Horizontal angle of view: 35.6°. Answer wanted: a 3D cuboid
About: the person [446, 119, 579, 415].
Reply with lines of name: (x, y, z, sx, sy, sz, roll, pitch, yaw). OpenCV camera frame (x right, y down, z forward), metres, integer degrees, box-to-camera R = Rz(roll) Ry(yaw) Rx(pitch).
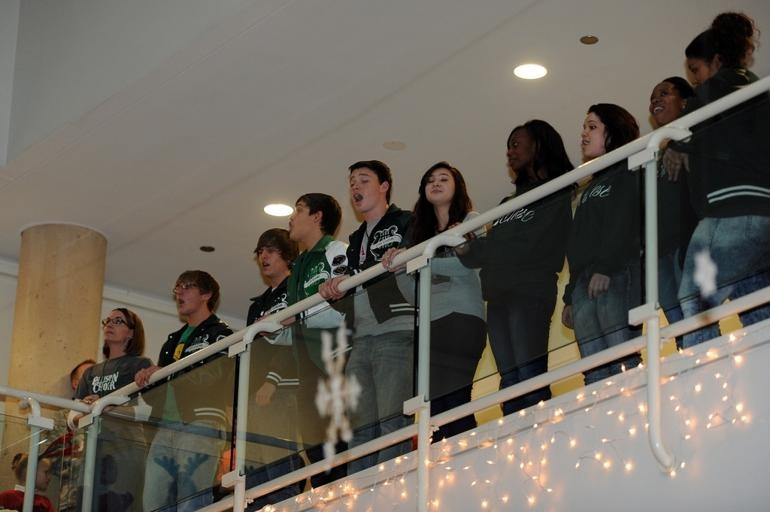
person: (0.732, -0.121, 6.397, 0.662, 1.866, 0.783, -10, -31, 9)

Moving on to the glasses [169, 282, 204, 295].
glasses: (-1.377, 0.252, 8.459, 0.140, 0.055, 0.108, -7, 4, -41)
